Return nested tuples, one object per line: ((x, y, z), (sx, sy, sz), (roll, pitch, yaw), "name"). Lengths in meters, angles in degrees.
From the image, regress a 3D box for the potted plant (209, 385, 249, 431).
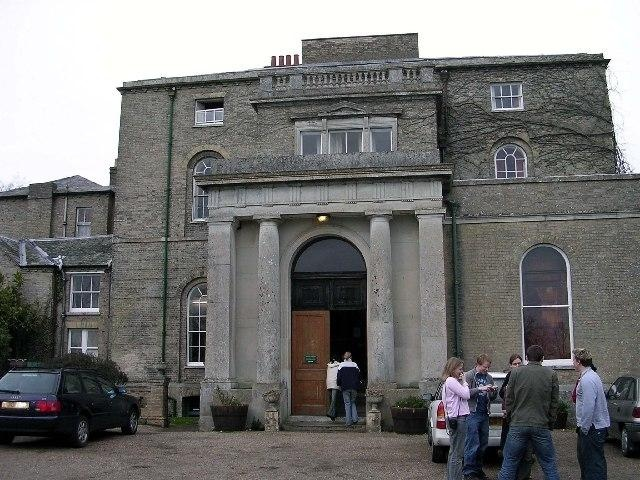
((-3.011, 5.722, 23.032), (1.007, 1.071, 1.259), (2, -16, -11), "potted plant")

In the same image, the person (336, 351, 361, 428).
((0.960, 4.876, 22.643), (0.755, 2.372, 0.698), (0, -10, 3), "person")

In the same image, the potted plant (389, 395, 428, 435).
((2.989, 5.577, 21.905), (1.164, 1.341, 1.385), (-3, -22, 11), "potted plant")

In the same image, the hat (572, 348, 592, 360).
((4.984, 2.228, 13.216), (0.249, 0.297, 0.293), (0, 6, 0), "hat")
